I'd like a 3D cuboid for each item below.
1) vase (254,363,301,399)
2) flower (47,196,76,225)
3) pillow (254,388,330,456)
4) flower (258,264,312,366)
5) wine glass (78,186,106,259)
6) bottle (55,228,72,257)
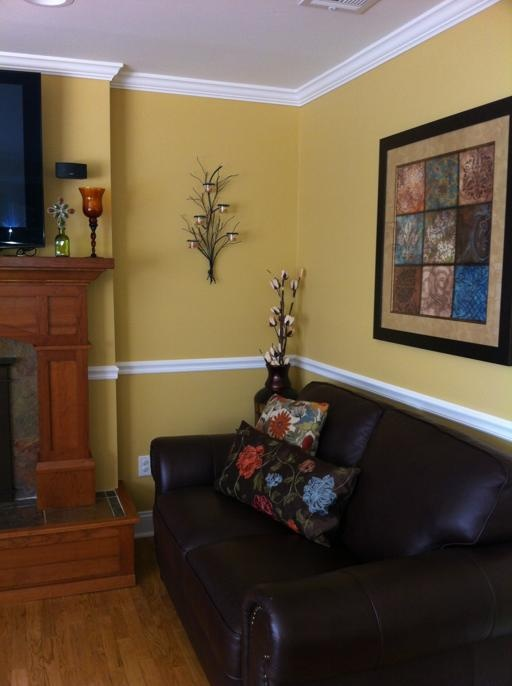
[{"bbox_3d":[0.122,0.180,2.964,0.180,0.185,0.192,4,12,19],"label":"vase"},{"bbox_3d":[-0.932,-0.604,2.590,0.153,0.158,0.055,4,0,-6],"label":"flower"},{"bbox_3d":[0.157,0.333,2.290,0.085,0.204,0.284,31,-13,-30],"label":"pillow"},{"bbox_3d":[0.172,-0.163,3.132,0.221,0.565,0.495,2,2,1],"label":"flower"},{"bbox_3d":[-0.795,-0.580,2.602,0.116,0.364,0.287,1,2,-16],"label":"wine glass"},{"bbox_3d":[-0.926,-0.478,2.582,0.067,0.151,0.240,1,2,-19],"label":"bottle"}]
